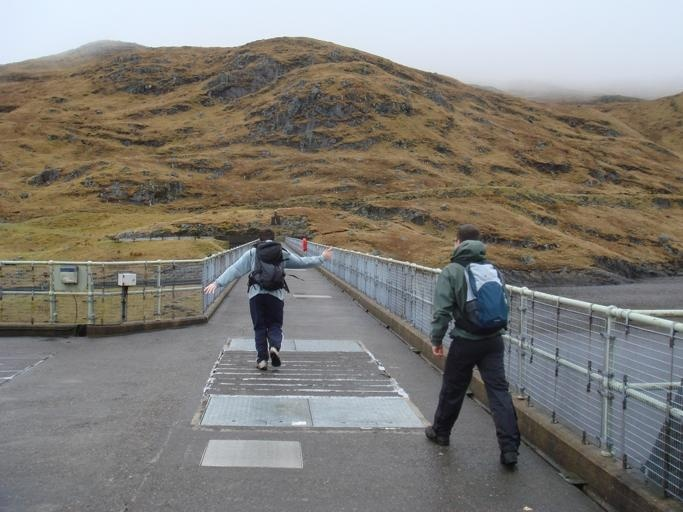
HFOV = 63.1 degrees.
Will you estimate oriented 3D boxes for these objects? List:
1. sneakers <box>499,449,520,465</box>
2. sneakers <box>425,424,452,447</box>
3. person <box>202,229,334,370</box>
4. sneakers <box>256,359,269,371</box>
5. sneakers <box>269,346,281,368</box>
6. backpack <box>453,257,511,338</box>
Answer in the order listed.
[{"bbox_3d":[1.684,1.980,5.514,0.179,0.175,0.174,3,2,5],"label":"sneakers"},{"bbox_3d":[1.050,1.944,6.029,0.142,0.114,0.301,0,7,-14],"label":"sneakers"},{"bbox_3d":[-1.167,0.678,8.506,1.503,2.164,0.684,1,4,-42],"label":"person"},{"bbox_3d":[-1.240,1.691,8.654,0.189,0.153,0.433,1,-7,-14],"label":"sneakers"},{"bbox_3d":[-1.047,1.558,8.623,0.184,0.388,0.161,-10,46,10],"label":"sneakers"},{"bbox_3d":[1.379,0.421,5.608,0.653,0.619,0.479,-5,4,-31],"label":"backpack"}]
